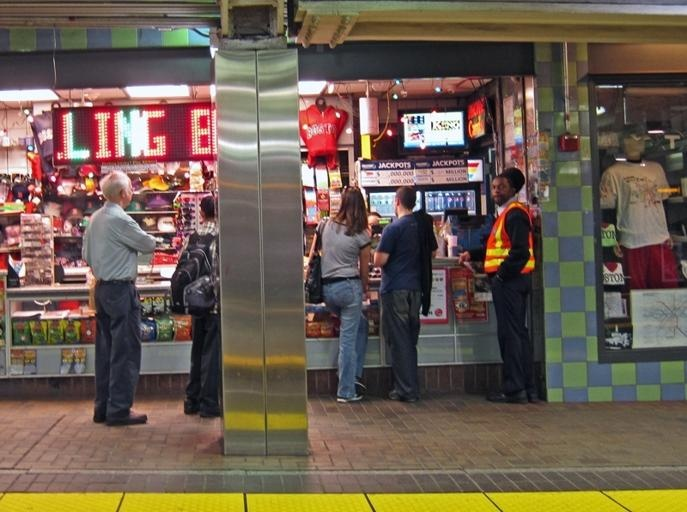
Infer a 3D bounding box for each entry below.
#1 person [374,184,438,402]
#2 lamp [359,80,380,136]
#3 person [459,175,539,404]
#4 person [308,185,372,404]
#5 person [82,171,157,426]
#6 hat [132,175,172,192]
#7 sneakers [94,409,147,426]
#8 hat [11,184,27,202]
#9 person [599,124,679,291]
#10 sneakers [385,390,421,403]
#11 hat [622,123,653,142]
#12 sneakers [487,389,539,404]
[{"bbox_3d":[0.682,0.414,8.670,0.594,2.372,0.645,3,7,28],"label":"person"},{"bbox_3d":[0.381,-2.271,11.705,0.270,0.772,0.222,0,7,-3],"label":"lamp"},{"bbox_3d":[1.878,0.326,8.525,0.534,2.597,0.641,0,7,-4],"label":"person"},{"bbox_3d":[-0.042,0.425,8.541,0.596,2.363,0.484,2,7,17],"label":"person"},{"bbox_3d":[-2.260,0.429,7.728,0.636,2.507,0.550,4,8,34],"label":"person"},{"bbox_3d":[-3.066,-1.124,12.125,0.465,0.157,0.290,-1,2,13],"label":"hat"},{"bbox_3d":[-2.246,1.661,7.712,0.389,0.156,0.209,-1,1,-16],"label":"sneakers"},{"bbox_3d":[-5.226,-1.021,12.313,0.221,0.274,0.398,-2,4,-24],"label":"hat"},{"bbox_3d":[3.365,-0.551,8.693,0.889,1.829,0.327,-2,7,-14],"label":"person"},{"bbox_3d":[0.659,1.568,8.564,0.132,0.143,0.336,-1,5,-44],"label":"sneakers"},{"bbox_3d":[3.330,-1.410,8.648,0.187,0.201,0.256,0,-3,-1],"label":"hat"},{"bbox_3d":[1.891,1.592,8.475,0.199,0.251,0.588,7,-16,-35],"label":"sneakers"}]
